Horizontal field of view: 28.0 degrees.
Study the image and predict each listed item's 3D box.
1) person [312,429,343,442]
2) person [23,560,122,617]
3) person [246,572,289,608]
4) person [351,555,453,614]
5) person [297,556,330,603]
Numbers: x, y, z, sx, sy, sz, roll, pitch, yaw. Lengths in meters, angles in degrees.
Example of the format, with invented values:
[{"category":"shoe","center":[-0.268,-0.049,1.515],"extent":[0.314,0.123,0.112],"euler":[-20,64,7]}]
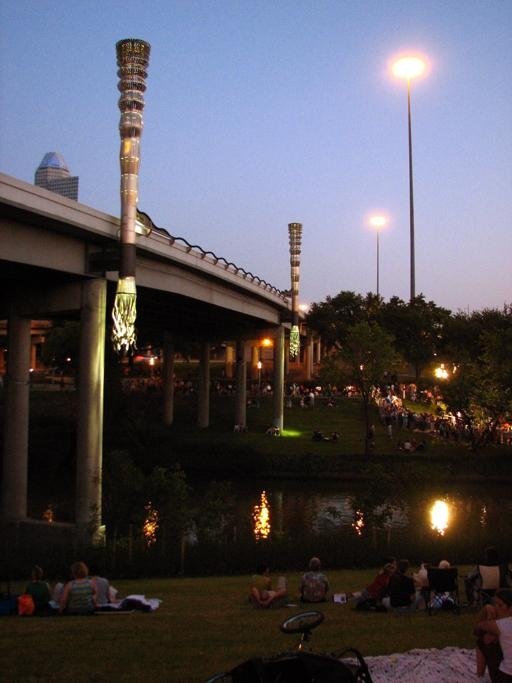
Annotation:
[{"category":"person","center":[3.527,4.986,52.898],"extent":[1.067,0.626,0.642],"euler":[-1,0,-5]},{"category":"person","center":[-3.394,4.306,17.855],"extent":[1.490,0.788,0.843],"euler":[-6,-13,43]},{"category":"person","center":[0.270,4.450,18.302],"extent":[0.483,0.423,0.758],"euler":[1,1,21]},{"category":"person","center":[2.556,4.404,18.445],"extent":[1.710,0.811,1.486],"euler":[1,-8,-6]},{"category":"person","center":[1.057,4.403,18.786],"extent":[0.536,0.791,0.545],"euler":[1,-8,-4]}]
